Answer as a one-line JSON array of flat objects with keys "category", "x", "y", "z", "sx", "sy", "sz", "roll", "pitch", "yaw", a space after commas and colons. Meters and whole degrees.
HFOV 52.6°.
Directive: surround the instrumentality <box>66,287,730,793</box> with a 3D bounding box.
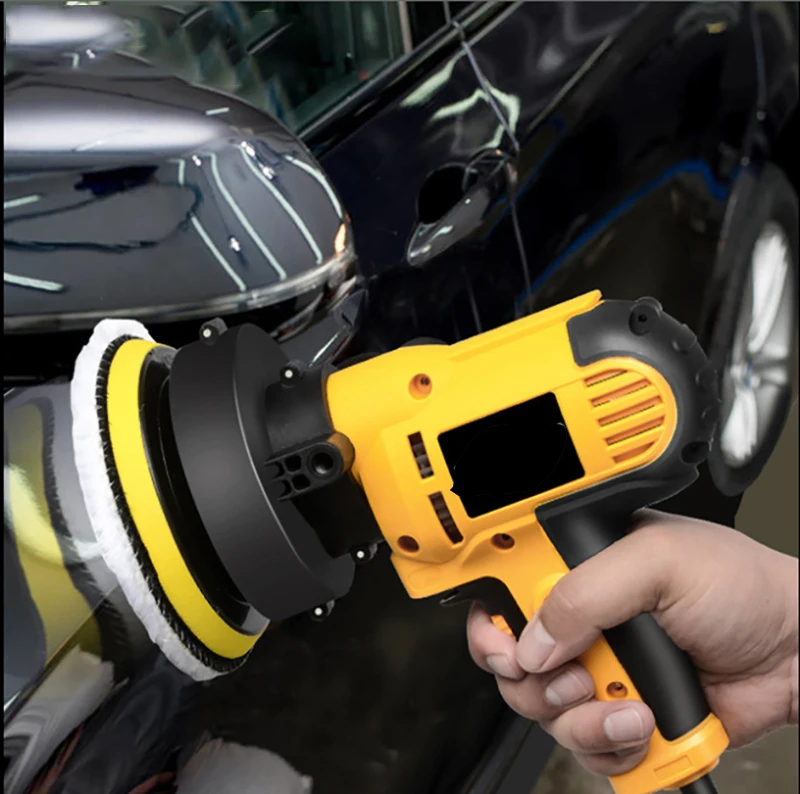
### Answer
[{"category": "instrumentality", "x": 0.012, "y": 0.206, "z": 1.188, "sx": 0.737, "sy": 0.832, "sz": 0.471, "roll": -13, "pitch": -5, "yaw": 14}]
